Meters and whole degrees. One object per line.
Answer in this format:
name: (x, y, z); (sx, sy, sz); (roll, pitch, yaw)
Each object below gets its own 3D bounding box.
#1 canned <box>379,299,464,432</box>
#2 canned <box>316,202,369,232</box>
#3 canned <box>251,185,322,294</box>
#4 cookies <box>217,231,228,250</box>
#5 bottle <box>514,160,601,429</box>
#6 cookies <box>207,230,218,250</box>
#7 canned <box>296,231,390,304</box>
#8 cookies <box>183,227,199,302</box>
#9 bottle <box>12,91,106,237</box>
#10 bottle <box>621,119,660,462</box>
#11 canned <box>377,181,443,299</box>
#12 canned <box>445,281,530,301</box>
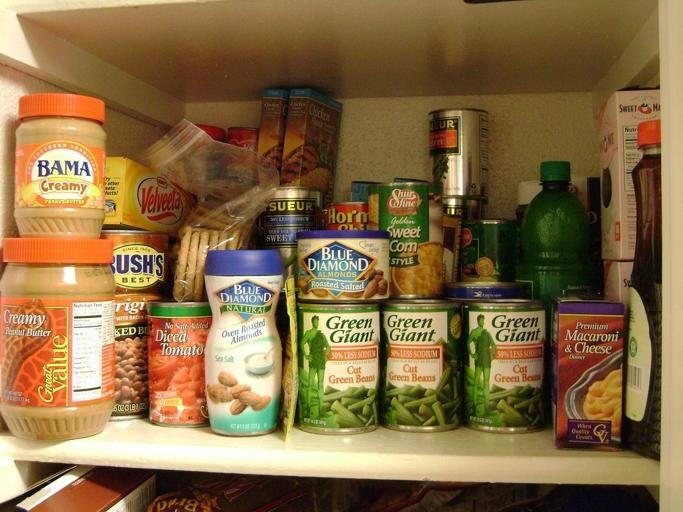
canned: (0.137, 0.187, 1.020); (0.136, 0.218, 0.045); (0, 0, 9)
canned: (0.009, -0.074, 1.128); (0.074, 0.036, 0.065); (-1, 1, -7)
canned: (-0.112, -0.041, 1.211); (0.136, 0.177, 0.125); (-2, 6, -5)
cookies: (-0.216, -0.029, 1.087); (0.014, 0.035, 0.009); (13, -43, -31)
bottle: (0.398, 0.069, 1.172); (0.189, 0.478, 0.171); (1, 4, 23)
cookies: (-0.232, -0.029, 1.082); (0.017, 0.029, 0.010); (20, -3, -7)
canned: (0.016, 0.019, 1.041); (0.150, 0.085, 0.137); (-1, 0, 21)
cookies: (-0.269, 0.015, 1.075); (0.025, 0.126, 0.033); (0, 0, -3)
bottle: (-0.476, -0.150, 1.003); (0.146, 0.238, 0.133); (0, 0, -21)
bottle: (0.457, 0.050, 0.888); (0.040, 0.505, 0.090); (0, 0, -3)
canned: (0.126, -0.028, 1.080); (0.125, 0.207, 0.040); (0, 0, 0)
canned: (0.259, 0.062, 1.056); (0.142, 0.031, 0.062); (0, 0, 1)
